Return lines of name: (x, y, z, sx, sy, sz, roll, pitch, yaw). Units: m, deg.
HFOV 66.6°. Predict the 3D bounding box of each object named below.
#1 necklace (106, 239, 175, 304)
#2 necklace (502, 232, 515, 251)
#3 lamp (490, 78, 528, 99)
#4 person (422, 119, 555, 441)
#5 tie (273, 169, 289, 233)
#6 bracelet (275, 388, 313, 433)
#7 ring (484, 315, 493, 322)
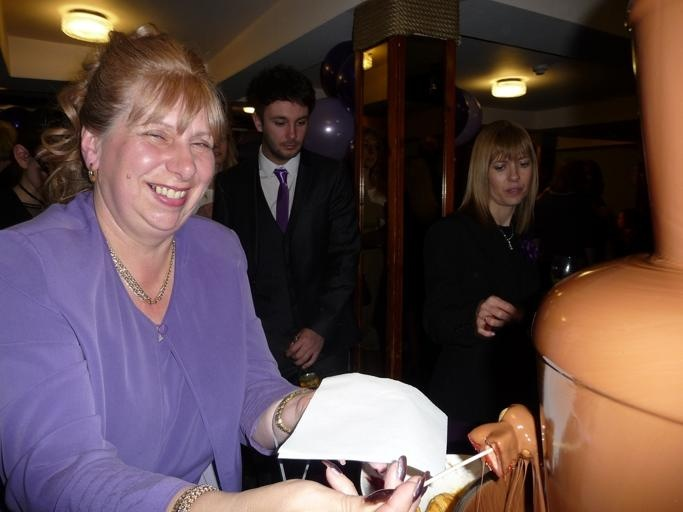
necklace: (-0.506, 0.046, 1.314, 0.032, 0.145, 0.138, -24, -4, 42)
necklace: (0.709, -0.056, 2.200, 0.019, 0.022, 0.130, -12, 46, 1)
lamp: (2.181, -2.234, 6.848, 0.426, 0.187, 0.388, 7, 9, 22)
person: (0.574, 0.090, 2.162, 0.488, 1.345, 0.771, 6, 9, 21)
tie: (-0.321, -0.280, 2.779, 0.060, 0.360, 0.044, -2, -8, -2)
bracelet: (-0.109, 0.366, 1.260, 0.075, 0.037, 0.092, -41, 6, 45)
ring: (0.514, 0.223, 1.817, 0.009, 0.030, 0.021, -1, -20, -22)
